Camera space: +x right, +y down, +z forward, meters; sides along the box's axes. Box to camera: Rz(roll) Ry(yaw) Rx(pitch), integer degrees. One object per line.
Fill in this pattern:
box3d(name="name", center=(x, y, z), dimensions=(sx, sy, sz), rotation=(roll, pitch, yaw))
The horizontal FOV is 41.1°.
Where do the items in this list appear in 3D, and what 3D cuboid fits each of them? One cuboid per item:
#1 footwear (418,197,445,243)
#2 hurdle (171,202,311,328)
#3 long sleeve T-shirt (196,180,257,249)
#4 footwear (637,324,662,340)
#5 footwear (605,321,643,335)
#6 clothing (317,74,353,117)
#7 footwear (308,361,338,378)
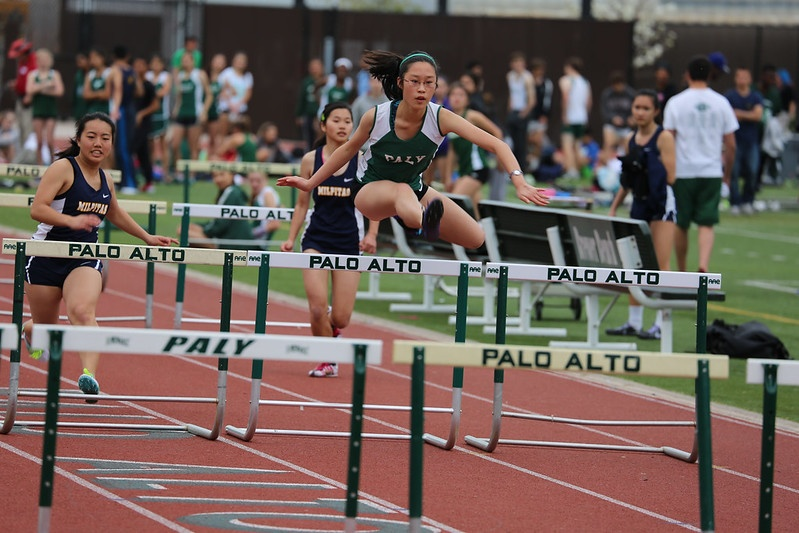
box3d(name="footwear", center=(0.219, -0.309, 7.330), dimensions=(0.106, 0.318, 0.124), rotation=(14, -27, -18))
box3d(name="hurdle", center=(-1.352, 0.055, 9.371), dimensions=(1.404, 1.020, 1.017), rotation=(3, 5, -2))
box3d(name="long sleeve T-shirt", center=(-2.021, -0.587, 12.219), dimensions=(0.735, 1.042, 0.778), rotation=(-1, 4, -7))
box3d(name="footwear", center=(2.567, 0.688, 10.933), dimensions=(0.295, 0.128, 0.102), rotation=(1, 2, 1))
box3d(name="footwear", center=(2.327, 0.641, 11.084), dimensions=(0.358, 0.148, 0.130), rotation=(3, 1, 13))
box3d(name="clothing", center=(-1.185, -3.233, 20.764), dimensions=(0.649, 0.935, 0.498), rotation=(9, -15, 2))
box3d(name="footwear", center=(-0.657, 0.910, 9.372), dimensions=(0.312, 0.152, 0.176), rotation=(2, 6, -9))
